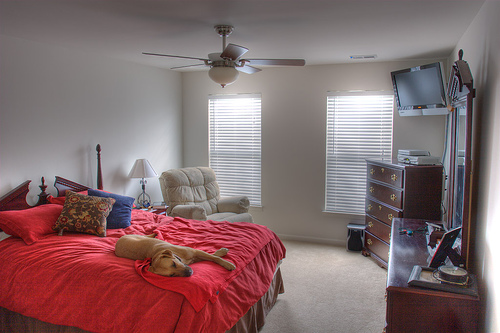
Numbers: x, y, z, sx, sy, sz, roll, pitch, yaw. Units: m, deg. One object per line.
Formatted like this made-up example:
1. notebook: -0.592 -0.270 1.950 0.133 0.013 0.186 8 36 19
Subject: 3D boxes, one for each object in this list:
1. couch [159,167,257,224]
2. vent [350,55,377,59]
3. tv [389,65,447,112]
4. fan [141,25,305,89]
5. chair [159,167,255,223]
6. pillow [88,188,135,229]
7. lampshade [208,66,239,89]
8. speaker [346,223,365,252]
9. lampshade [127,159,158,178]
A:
1. couch: -0.662 0.666 5.539 1.009 1.218 1.349 6 6 32
2. vent: 1.729 -1.681 5.307 0.402 0.034 0.235 -1 13 -1
3. tv: 2.276 -1.051 4.774 0.940 0.647 0.091 -11 2 -22
4. fan: -0.156 -1.312 4.140 0.941 0.681 0.813 -13 18 -42
5. chair: -0.656 0.671 5.539 1.018 1.199 1.300 7 6 36
6. pillow: -1.648 0.511 4.394 0.521 0.492 0.202 7 -25 -22
7. lampshade: -0.312 -1.081 4.141 0.281 0.234 0.225 -11 17 -36
8. speaker: 1.719 1.097 5.769 0.325 0.419 0.255 -4 42 4
9. lampshade: -1.756 0.116 5.645 0.469 0.421 0.470 -1 4 -13
